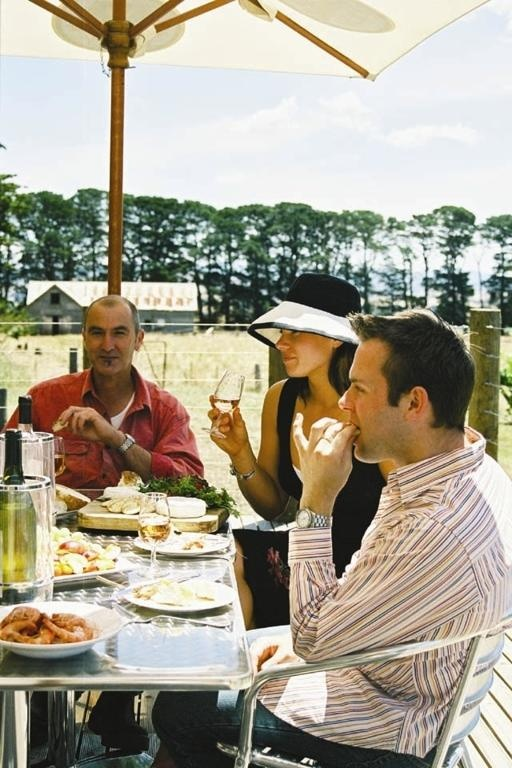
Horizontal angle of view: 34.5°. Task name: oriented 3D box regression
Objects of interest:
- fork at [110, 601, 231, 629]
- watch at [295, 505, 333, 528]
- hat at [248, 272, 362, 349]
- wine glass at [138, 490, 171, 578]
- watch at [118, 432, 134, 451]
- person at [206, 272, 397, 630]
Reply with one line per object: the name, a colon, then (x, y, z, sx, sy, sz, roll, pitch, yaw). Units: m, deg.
fork: (-0.161, 0.426, 1.512, 0.186, 0.025, 0.029, -1, 41, -1)
watch: (0.112, 0.256, 1.585, 0.059, 0.031, 0.055, 3, 4, -8)
hat: (0.213, -0.235, 2.707, 0.455, 0.227, 0.425, 2, -1, 15)
wine glass: (-0.222, 0.317, 1.730, 0.073, 0.155, 0.080, -3, 9, -40)
watch: (-0.425, 0.190, 2.662, 0.032, 0.043, 0.047, 45, 19, 2)
person: (0.141, 0.149, 2.637, 0.663, 1.075, 0.539, 2, 5, -32)
